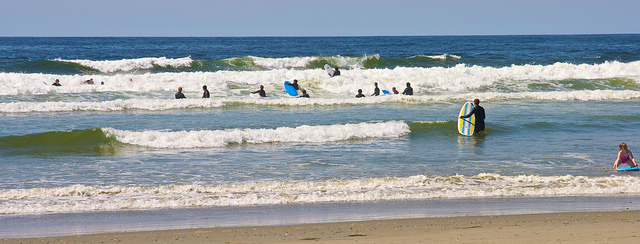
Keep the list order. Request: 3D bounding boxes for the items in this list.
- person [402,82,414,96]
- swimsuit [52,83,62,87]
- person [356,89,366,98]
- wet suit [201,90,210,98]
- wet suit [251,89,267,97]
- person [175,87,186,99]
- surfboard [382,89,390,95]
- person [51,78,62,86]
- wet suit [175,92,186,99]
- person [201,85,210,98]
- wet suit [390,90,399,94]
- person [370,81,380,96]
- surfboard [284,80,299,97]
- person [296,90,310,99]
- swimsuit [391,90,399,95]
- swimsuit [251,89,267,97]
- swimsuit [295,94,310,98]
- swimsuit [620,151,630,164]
[{"bbox_3d":[10.262,-3.708,103.140,1.131,1.505,1.122,-3,9,7],"label":"person"},{"bbox_3d":[-30.993,-4.274,104.381,1.069,0.445,0.295,0,-3,1],"label":"swimsuit"},{"bbox_3d":[4.828,-3.212,104.374,1.903,0.954,0.683,1,31,2],"label":"person"},{"bbox_3d":[-13.122,-3.148,102.185,0.763,0.883,0.760,-5,9,-2],"label":"wet suit"},{"bbox_3d":[-7.029,-3.212,103.416,1.223,0.895,0.335,-14,26,3],"label":"wet suit"},{"bbox_3d":[-16.052,-3.187,101.833,1.212,1.267,1.003,-5,9,-6],"label":"person"},{"bbox_3d":[7.804,-3.377,104.022,1.244,0.646,0.258,3,3,5],"label":"surfboard"},{"bbox_3d":[-31.041,-4.526,104.715,1.049,0.716,1.245,-5,8,-13],"label":"person"},{"bbox_3d":[-15.969,-2.909,101.712,1.057,0.705,0.613,-4,9,-10],"label":"wet suit"},{"bbox_3d":[-13.121,-3.392,101.950,0.797,1.420,1.104,-6,9,-6],"label":"person"},{"bbox_3d":[8.961,-3.330,103.175,1.141,0.209,0.281,4,-24,-10],"label":"wet suit"},{"bbox_3d":[6.610,-3.699,103.453,0.861,1.530,1.269,-4,9,3],"label":"person"},{"bbox_3d":[-3.265,-3.732,103.787,1.066,1.774,1.869,-14,13,-43],"label":"surfboard"},{"bbox_3d":[-1.770,-3.107,102.592,0.997,0.971,1.558,2,9,34],"label":"person"},{"bbox_3d":[8.852,-3.331,103.713,0.984,0.221,0.701,-3,-9,33],"label":"swimsuit"},{"bbox_3d":[-7.043,-3.229,103.439,1.463,0.926,0.400,-4,6,-8],"label":"swimsuit"},{"bbox_3d":[-1.811,-2.866,102.659,1.655,0.442,0.707,-4,8,-15],"label":"swimsuit"},{"bbox_3d":[31.716,3.657,91.741,1.675,1.274,0.422,-2,-5,5],"label":"swimsuit"}]
